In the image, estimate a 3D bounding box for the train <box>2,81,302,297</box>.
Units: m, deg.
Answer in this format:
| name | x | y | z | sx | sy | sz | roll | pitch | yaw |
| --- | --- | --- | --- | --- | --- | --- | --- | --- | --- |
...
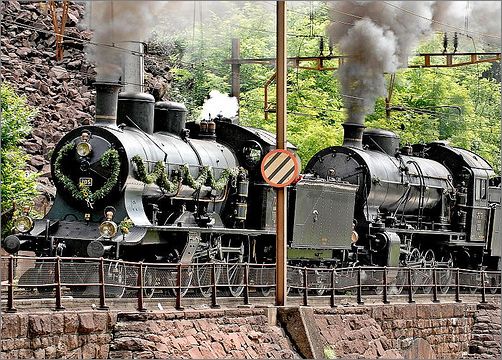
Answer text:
| name | x | y | z | sx | sy | sz | roll | pitch | yaw |
| --- | --- | --- | --- | --- | --- | --- | --- | --- | --- |
| train | -2.777 | -0.079 | 22.908 | 3.130 | 5.241 | 7.277 | 5 | 3 | 43 |
